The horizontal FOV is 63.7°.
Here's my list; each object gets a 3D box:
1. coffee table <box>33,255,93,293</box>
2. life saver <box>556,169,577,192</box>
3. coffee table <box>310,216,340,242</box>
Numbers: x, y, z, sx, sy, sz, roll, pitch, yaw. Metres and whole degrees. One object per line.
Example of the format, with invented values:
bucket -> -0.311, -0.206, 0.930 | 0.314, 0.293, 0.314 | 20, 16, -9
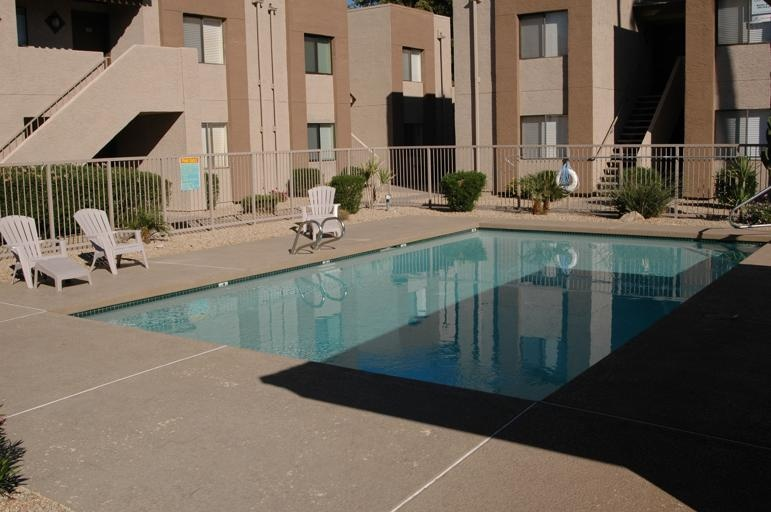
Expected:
coffee table -> -6.536, 0.262, 12.672 | 0.786, 0.534, 1.068 | -9, 20, -42
life saver -> 4.908, -2.036, 16.794 | 0.500, 0.623, 0.852 | 3, 12, 15
coffee table -> -1.628, -0.818, 17.351 | 0.753, 1.071, 0.774 | -3, -1, -14
